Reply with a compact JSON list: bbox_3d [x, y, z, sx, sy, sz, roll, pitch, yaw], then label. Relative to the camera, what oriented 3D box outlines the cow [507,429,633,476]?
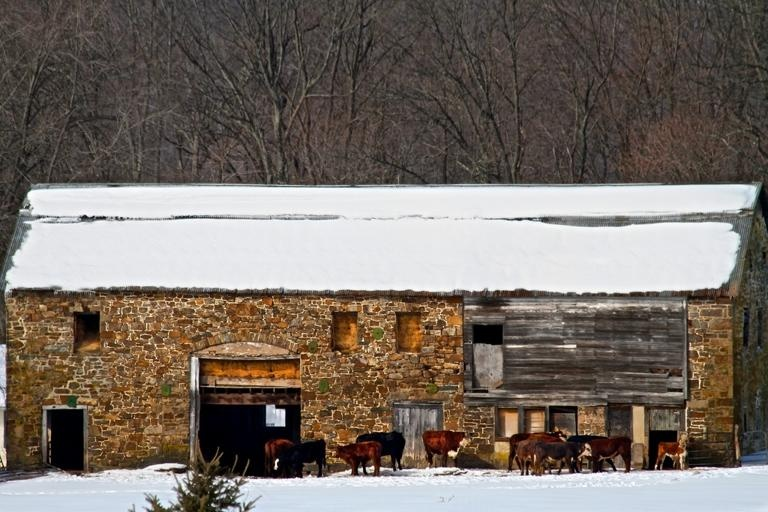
[{"bbox_3d":[8.038,9.746,81.989,4.184,2.006,1.694,-1,-8,4],"label":"cow"}]
